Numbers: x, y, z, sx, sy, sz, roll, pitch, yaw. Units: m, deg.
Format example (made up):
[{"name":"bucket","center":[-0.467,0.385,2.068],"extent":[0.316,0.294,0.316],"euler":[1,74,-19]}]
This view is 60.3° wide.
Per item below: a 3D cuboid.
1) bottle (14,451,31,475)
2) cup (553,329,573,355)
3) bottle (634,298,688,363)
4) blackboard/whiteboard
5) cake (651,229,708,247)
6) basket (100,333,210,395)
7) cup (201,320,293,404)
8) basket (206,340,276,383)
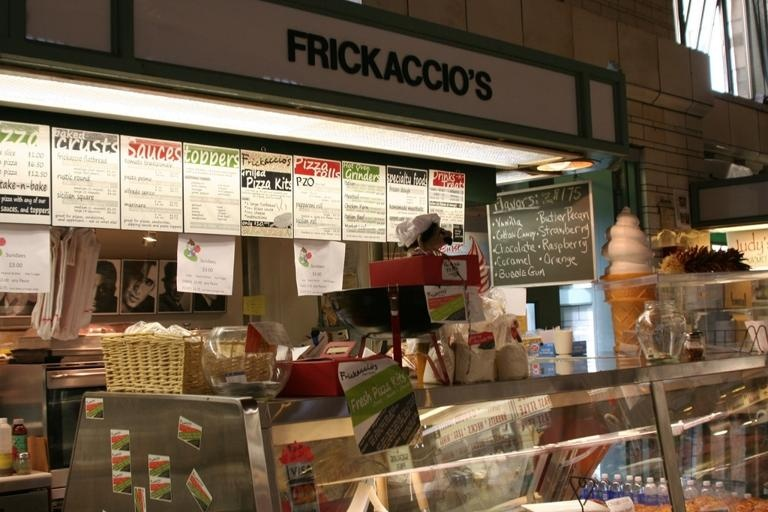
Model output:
[{"name":"bottle","center":[-2.220,1.269,4.070],"extent":[0.113,0.160,0.111],"euler":[-1,-6,0]},{"name":"cup","center":[0.936,0.452,3.499],"extent":[0.119,0.177,0.125],"euler":[-1,-3,0]},{"name":"bottle","center":[1.193,0.332,2.853],"extent":[0.244,0.295,0.240],"euler":[9,-13,-40]},{"name":"blackboard/whiteboard","center":[1.391,-0.188,5.877],"extent":[0.956,0.884,0.069],"euler":[-7,-8,35]},{"name":"cake","center":[3.144,-0.178,7.001],"extent":[1.074,0.222,0.195],"euler":[3,-8,-44]},{"name":"basket","center":[-0.816,0.372,2.313],"extent":[0.239,0.151,0.322],"euler":[-1,-9,3]},{"name":"cup","center":[-0.444,0.337,2.127],"extent":[0.255,0.211,0.256],"euler":[-4,-11,-1]},{"name":"basket","center":[-0.468,0.322,2.127],"extent":[0.147,0.115,0.168],"euler":[0,-4,-37]}]
